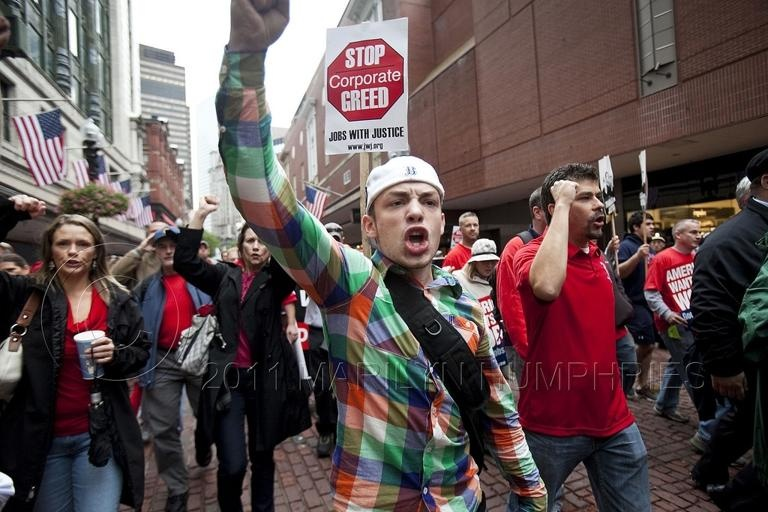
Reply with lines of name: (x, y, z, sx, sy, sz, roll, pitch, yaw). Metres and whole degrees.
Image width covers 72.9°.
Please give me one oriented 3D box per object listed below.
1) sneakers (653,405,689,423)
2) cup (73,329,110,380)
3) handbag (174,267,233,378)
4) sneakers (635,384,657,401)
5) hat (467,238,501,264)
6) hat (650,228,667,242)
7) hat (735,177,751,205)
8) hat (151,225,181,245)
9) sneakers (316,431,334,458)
sneakers: (3.730, 2.058, 6.811, 0.355, 0.158, 0.132, 6, -3, 41)
cup: (-2.325, 0.804, 4.165, 0.223, 0.429, 0.136, 1, 0, -10)
handbag: (-1.803, 0.835, 5.115, 0.330, 0.597, 0.439, 21, -15, -32)
sneakers: (3.767, 1.990, 7.524, 0.320, 0.147, 0.113, 2, 4, 27)
hat: (1.224, -0.058, 6.349, 0.286, 0.180, 0.297, 1, -6, -44)
hat: (5.640, -0.424, 10.777, 0.259, 0.162, 0.391, -8, -39, 30)
hat: (3.826, -0.692, 5.594, 0.100, 0.400, 1.253, 1, 0, 33)
hat: (-2.320, -0.223, 5.632, 0.249, 0.191, 0.395, 7, -12, -41)
sneakers: (-0.706, 2.335, 6.422, 0.221, 0.242, 0.228, 1, 0, -8)
